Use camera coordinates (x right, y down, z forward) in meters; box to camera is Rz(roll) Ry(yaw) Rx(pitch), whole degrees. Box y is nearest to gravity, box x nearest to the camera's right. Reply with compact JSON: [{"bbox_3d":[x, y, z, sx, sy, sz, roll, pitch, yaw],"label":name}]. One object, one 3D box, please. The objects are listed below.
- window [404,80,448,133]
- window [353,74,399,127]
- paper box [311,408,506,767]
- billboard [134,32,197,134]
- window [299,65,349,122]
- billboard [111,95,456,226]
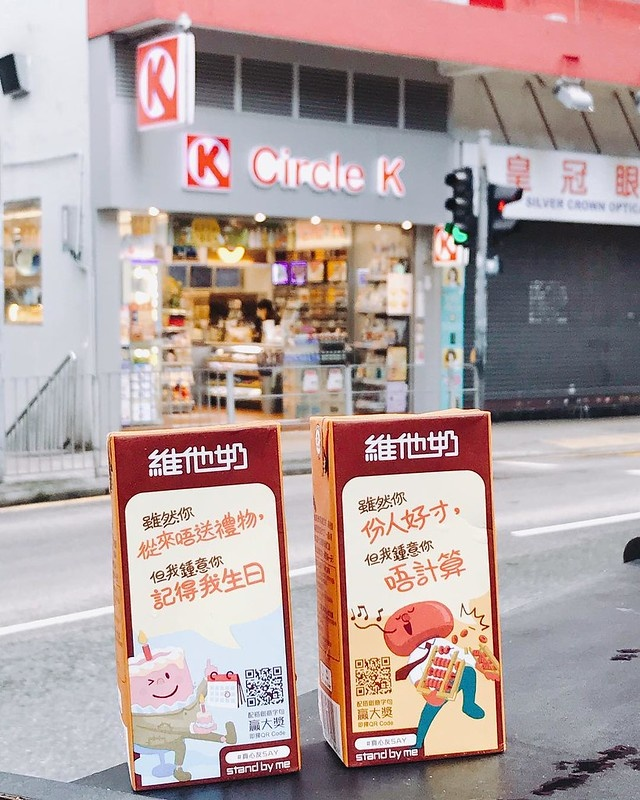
[{"bbox_3d":[2.143,-5.930,17.412,0.938,0.981,0.064,10,28,23],"label":"window"},{"bbox_3d":[1.029,-5.803,16.704,1.055,1.057,0.087,0,-2,-34],"label":"window"},{"bbox_3d":[0.311,0.572,2.867,0.540,1.155,0.371,-4,10,0],"label":"paper box"},{"bbox_3d":[-2.478,-4.914,13.341,0.184,1.359,1.249,-5,12,-42],"label":"billboard"},{"bbox_3d":[0.044,-5.679,16.102,0.912,0.976,0.109,0,0,-1],"label":"window"},{"bbox_3d":[-0.457,-4.383,15.865,6.371,1.950,0.834,-5,16,-31],"label":"billboard"}]
